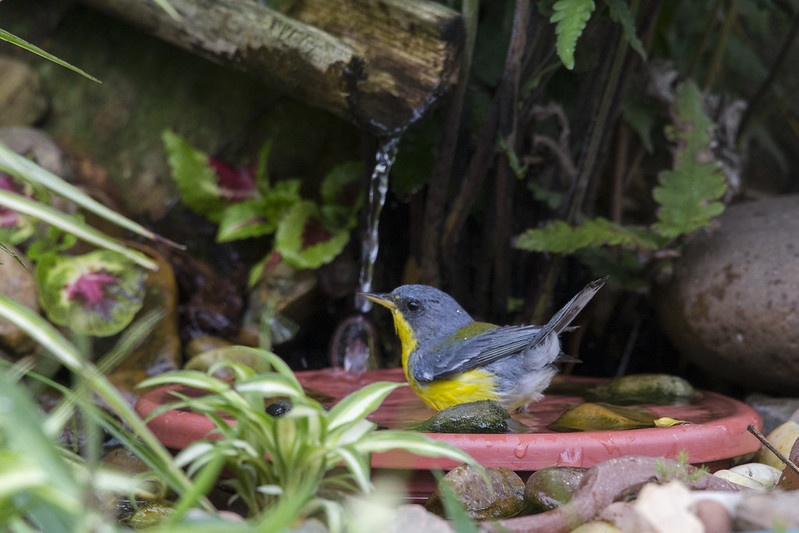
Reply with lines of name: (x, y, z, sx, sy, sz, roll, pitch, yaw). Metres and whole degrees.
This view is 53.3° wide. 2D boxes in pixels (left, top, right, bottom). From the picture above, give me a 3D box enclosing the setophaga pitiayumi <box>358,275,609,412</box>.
setophaga pitiayumi: (0.306, 0.323, 3.421, 1.013, 0.658, 0.498, -16, -10, 23)
